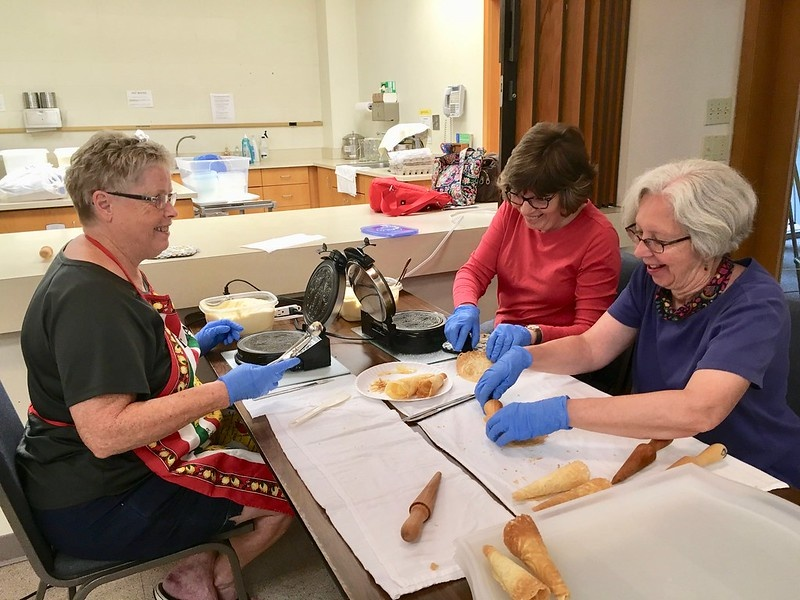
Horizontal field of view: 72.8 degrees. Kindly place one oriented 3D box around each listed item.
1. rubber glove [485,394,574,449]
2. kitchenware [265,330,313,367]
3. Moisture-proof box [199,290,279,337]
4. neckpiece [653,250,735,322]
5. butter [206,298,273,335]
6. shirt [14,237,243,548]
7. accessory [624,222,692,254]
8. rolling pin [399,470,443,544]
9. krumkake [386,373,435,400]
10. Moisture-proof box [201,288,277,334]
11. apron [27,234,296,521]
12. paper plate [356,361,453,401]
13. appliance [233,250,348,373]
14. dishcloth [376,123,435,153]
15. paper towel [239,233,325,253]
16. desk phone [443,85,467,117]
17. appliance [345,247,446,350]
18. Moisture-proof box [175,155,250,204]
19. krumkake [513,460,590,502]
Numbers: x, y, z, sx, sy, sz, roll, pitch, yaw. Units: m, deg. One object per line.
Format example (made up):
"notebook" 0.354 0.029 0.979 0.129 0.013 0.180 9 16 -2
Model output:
"rubber glove" 0.314 0.287 1.301 0.179 0.067 0.101 -10 36 2
"kitchenware" -0.313 0.136 1.593 0.044 0.049 0.195 20 37 20
"Moisture-proof box" -0.575 0.032 1.944 0.202 0.088 0.175 -8 14 -23
"neckpiece" 0.786 -0.013 1.495 0.158 0.194 0.056 22 11 -37
"butter" -0.561 0.045 1.932 0.163 0.062 0.143 -8 20 -22
"shirt" -0.753 0.273 1.706 0.615 0.849 0.841 -3 11 -25
"accessory" 0.657 -0.153 1.409 0.089 0.028 0.090 -18 33 -15
"rolling pin" 0.046 0.413 1.096 0.035 0.035 0.163 -26 8 26
"krumkake" 0.026 0.240 1.538 0.112 0.036 0.063 -15 41 -25
"Moisture-proof box" -0.575 0.032 1.948 0.199 0.086 0.170 -8 17 -17
"apron" -0.645 0.099 1.658 0.722 0.741 0.735 -4 12 -19
"paper plate" 0.000 0.243 1.577 0.135 0.027 0.144 10 19 27
"appliance" -0.336 0.004 1.767 0.395 0.423 0.315 -4 17 -19
"dishcloth" 0.039 -1.416 4.717 0.423 0.208 0.239 -4 19 -1
"paper towel" -0.521 -0.257 2.439 0.261 0.006 0.112 -15 29 -38
"desk phone" 0.490 -1.762 4.786 0.125 0.342 0.237 -15 20 -41
"appliance" -0.040 -0.033 1.874 0.366 0.388 0.281 -10 25 -30
"Moisture-proof box" -1.506 -0.984 4.423 0.389 0.278 0.587 -6 13 -26
"krumkake" 0.330 0.384 1.197 0.167 0.068 0.071 -19 26 -16
